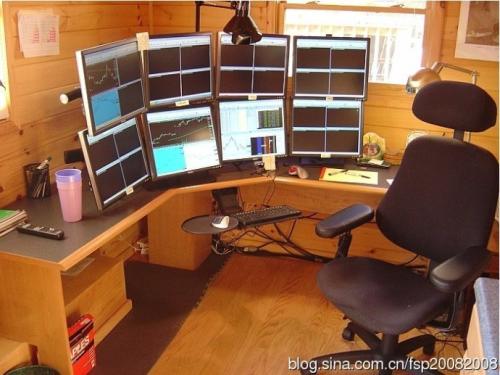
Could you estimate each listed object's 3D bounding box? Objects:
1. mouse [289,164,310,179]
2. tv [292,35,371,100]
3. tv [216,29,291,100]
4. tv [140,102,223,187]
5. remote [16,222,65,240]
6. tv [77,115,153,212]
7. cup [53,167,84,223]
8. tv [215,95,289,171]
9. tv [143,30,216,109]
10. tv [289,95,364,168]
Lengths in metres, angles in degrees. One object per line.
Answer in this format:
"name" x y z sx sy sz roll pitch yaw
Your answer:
"mouse" 0.335 -0.121 2.712 0.085 0.044 0.115 -22 32 -33
"tv" 0.583 -0.866 2.802 0.494 0.343 0.051 2 13 3
"tv" 0.009 -0.851 2.722 0.552 0.430 0.069 -2 21 -9
"tv" -0.469 -0.281 2.584 0.495 0.452 0.256 -10 23 -23
"remote" -1.068 0.220 1.986 0.168 0.036 0.043 11 25 17
"tv" -0.784 -0.134 2.286 0.057 0.410 0.511 0 24 27
"cup" -0.960 0.047 2.107 0.119 0.251 0.116 0 19 0
"tv" -0.004 -0.406 2.805 0.565 0.448 0.077 -4 6 -16
"tv" -0.474 -0.762 2.554 0.561 0.435 0.057 -10 22 -30
"tv" 0.558 -0.429 2.863 0.569 0.436 0.059 1 10 0
